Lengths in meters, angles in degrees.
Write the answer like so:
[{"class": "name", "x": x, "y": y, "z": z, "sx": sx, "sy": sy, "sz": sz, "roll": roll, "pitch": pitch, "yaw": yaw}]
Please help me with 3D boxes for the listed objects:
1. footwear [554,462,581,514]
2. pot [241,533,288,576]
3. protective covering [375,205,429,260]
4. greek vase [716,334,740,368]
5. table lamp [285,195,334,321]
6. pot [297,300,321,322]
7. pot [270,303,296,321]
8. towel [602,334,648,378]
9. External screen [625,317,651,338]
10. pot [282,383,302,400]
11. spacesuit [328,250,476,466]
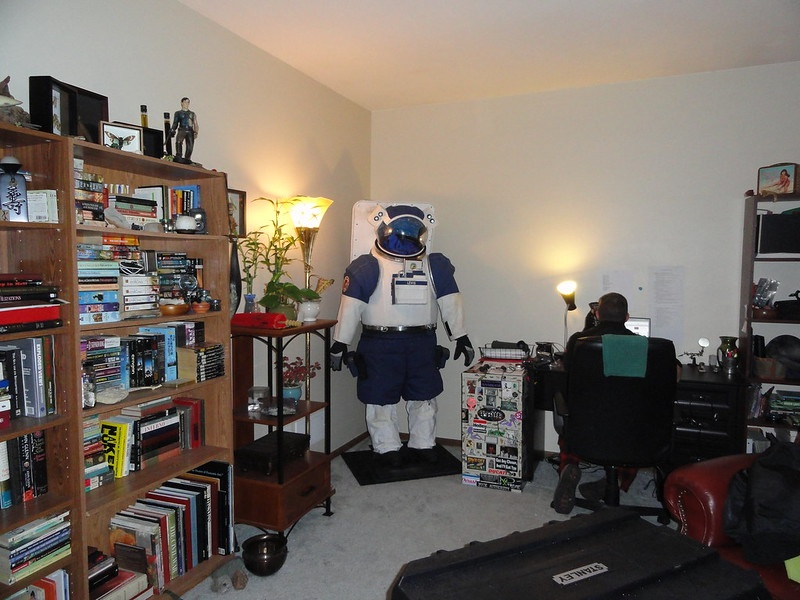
[{"class": "footwear", "x": 1.001, "y": 1.146, "z": 3.686, "sx": 0.131, "sy": 0.337, "sz": 0.129, "roll": 13, "pitch": -1, "yaw": 9}, {"class": "pot", "x": -0.739, "y": 1.383, "z": 3.241, "sx": 0.237, "sy": 0.158, "sz": 0.241, "roll": 1, "pitch": 3, "yaw": 0}, {"class": "protective covering", "x": 0.005, "y": -0.488, "z": 4.301, "sx": 0.372, "sy": 0.368, "sz": 0.234, "roll": 0, "pitch": 9, "yaw": -2}, {"class": "greek vase", "x": 2.270, "y": 0.366, "z": 4.178, "sx": 0.196, "sy": 0.288, "sz": 0.167, "roll": -2, "pitch": 0, "yaw": 35}, {"class": "table lamp", "x": -0.619, "y": -0.396, "z": 4.062, "sx": 0.274, "sy": 0.588, "sz": 0.268, "roll": 7, "pitch": 11, "yaw": 39}, {"class": "pot", "x": -0.546, "y": 0.062, "z": 3.679, "sx": 0.119, "sy": 0.093, "sz": 0.118, "roll": -1, "pitch": 0, "yaw": 0}, {"class": "pot", "x": -0.694, "y": 0.073, "z": 3.621, "sx": 0.111, "sy": 0.074, "sz": 0.110, "roll": 2, "pitch": 3, "yaw": 0}, {"class": "towel", "x": 1.210, "y": 0.306, "z": 3.271, "sx": 0.224, "sy": 0.231, "sz": 0.083, "roll": 0, "pitch": 1, "yaw": 12}, {"class": "External screen", "x": 1.639, "y": 0.192, "z": 4.167, "sx": 0.165, "sy": 0.122, "sz": 0.018, "roll": 8, "pitch": -23, "yaw": 15}, {"class": "pot", "x": -0.634, "y": 0.541, "z": 3.551, "sx": 0.087, "sy": 0.069, "sz": 0.089, "roll": -1, "pitch": 2, "yaw": 0}, {"class": "spacesuit", "x": -0.008, "y": 0.415, "z": 4.429, "sx": 1.025, "sy": 1.569, "sz": 0.310, "roll": -2, "pitch": 9, "yaw": -13}]
